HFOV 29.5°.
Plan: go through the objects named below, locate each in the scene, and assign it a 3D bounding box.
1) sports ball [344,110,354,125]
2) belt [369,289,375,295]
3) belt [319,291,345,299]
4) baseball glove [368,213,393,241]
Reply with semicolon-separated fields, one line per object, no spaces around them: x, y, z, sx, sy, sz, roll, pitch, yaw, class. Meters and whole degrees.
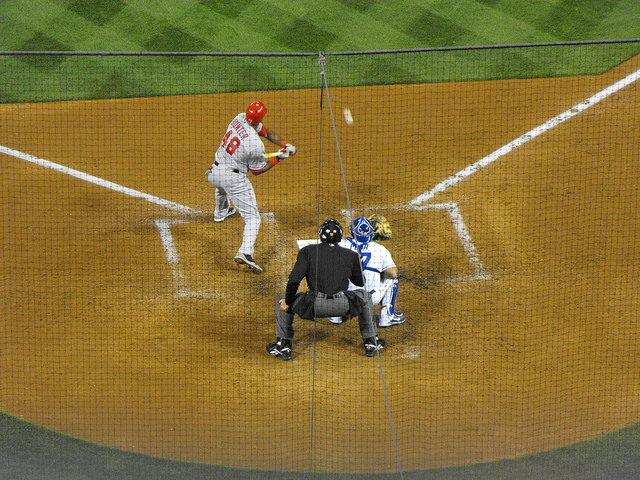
0.543;-2.382;23.445;0.156;0.284;0.393;3;5;-8;sports ball
0.803;0.806;19.293;0.086;0.021;0.082;-21;10;-10;belt
0.173;0.846;18.805;0.377;0.117;0.026;3;5;-7;belt
0.943;-0.223;19.760;0.321;0.272;0.434;-12;42;-14;baseball glove
